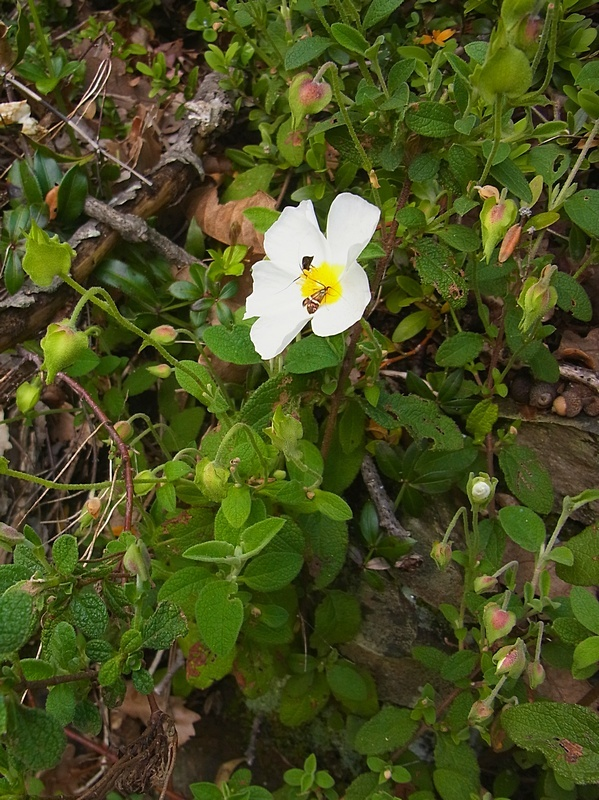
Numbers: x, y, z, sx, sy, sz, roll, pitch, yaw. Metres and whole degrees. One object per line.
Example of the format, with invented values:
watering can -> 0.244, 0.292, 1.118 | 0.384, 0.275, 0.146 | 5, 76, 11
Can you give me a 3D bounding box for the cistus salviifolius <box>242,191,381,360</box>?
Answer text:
cistus salviifolius -> 0.005, -0.256, 1.433 | 0.233, 0.310, 0.362 | -22, 35, -28
